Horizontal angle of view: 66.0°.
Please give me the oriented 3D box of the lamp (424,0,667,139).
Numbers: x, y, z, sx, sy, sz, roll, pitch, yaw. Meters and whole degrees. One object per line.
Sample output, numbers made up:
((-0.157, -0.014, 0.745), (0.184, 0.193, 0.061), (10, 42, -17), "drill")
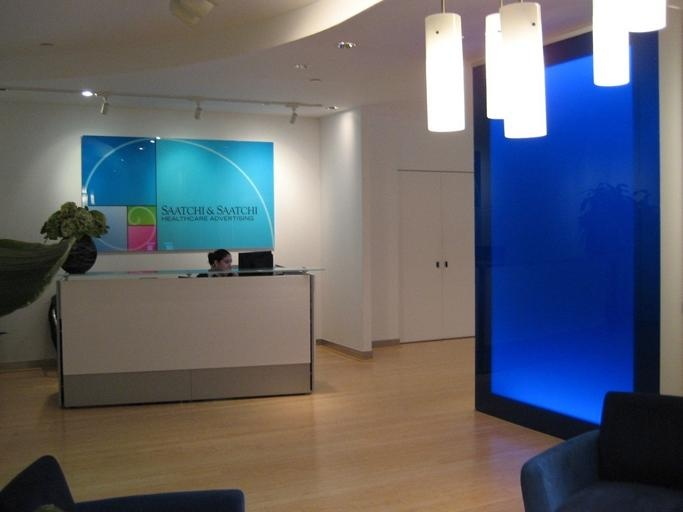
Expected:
((0.621, -0.609, 1.666), (0.680, 0.467, 0.312), (2, 4, 30), "lamp")

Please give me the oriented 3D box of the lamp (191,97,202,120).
((-1.932, -1.939, 7.061), (0.081, 0.227, 0.414), (-1, 3, -15), "lamp")

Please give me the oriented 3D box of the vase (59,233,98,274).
((-2.632, 0.056, 5.295), (0.275, 0.451, 0.273), (-26, -32, 22), "vase")

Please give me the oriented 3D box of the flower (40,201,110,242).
((-2.554, -0.336, 5.025), (0.574, 0.352, 0.444), (-1, 3, -5), "flower")
